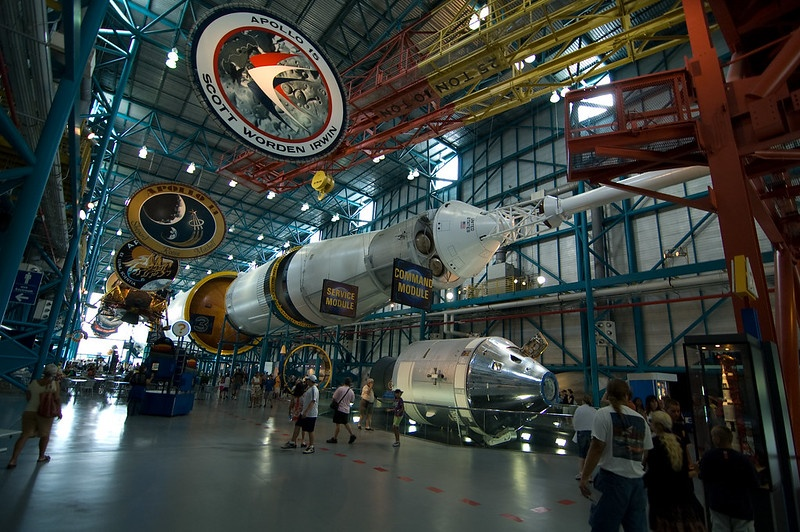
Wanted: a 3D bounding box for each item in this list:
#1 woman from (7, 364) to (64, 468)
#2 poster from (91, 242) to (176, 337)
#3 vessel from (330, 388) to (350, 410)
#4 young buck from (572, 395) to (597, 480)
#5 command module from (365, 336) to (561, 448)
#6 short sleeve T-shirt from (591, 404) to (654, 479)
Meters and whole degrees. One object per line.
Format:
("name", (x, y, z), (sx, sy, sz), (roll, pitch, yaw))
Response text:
("woman", (-8.305, 3.466, 12.352), (0.776, 2.281, 1.542), (14, -21, -30))
("poster", (-16.438, 1.754, 32.525), (3.390, 4.418, 8.669), (18, -43, -32))
("vessel", (-1.868, 4.091, 16.271), (0.661, 0.672, 0.419), (11, 1, -25))
("young buck", (4.563, 4.210, 13.034), (0.656, 2.108, 0.645), (10, -19, -13))
("command module", (2.138, 4.395, 18.443), (5.858, 2.838, 3.240), (1, -23, 40))
("short sleeve T-shirt", (3.991, 3.251, 9.778), (1.361, 1.259, 0.769), (13, -19, -17))
